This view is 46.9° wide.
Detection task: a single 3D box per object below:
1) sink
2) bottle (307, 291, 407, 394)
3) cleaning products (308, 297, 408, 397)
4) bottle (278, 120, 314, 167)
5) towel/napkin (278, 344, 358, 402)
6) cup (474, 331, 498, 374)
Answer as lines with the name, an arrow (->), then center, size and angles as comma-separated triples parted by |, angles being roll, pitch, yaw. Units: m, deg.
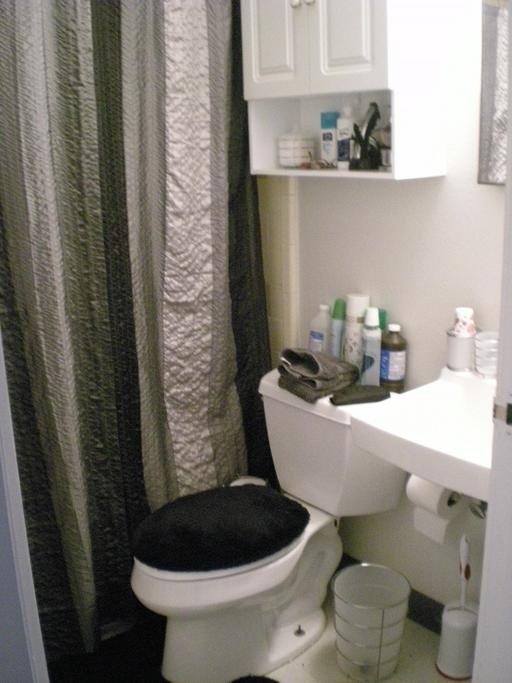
sink -> 0.361, 0.168, 1.202 | 0.255, 0.101, 0.274 | -14, 22, -35
bottle -> 0.280, 0.005, 1.569 | 0.080, 0.250, 0.172 | -17, 26, -21
cleaning products -> 0.268, -0.002, 1.573 | 0.194, 0.317, 0.253 | -5, 16, -15
bottle -> 0.125, -0.545, 1.621 | 0.100, 0.123, 0.114 | 4, 27, 12
towel/napkin -> 0.154, 0.070, 1.534 | 0.128, 0.078, 0.166 | -15, 26, -35
cup -> 0.513, 0.025, 1.316 | 0.045, 0.091, 0.055 | 3, 15, 17
